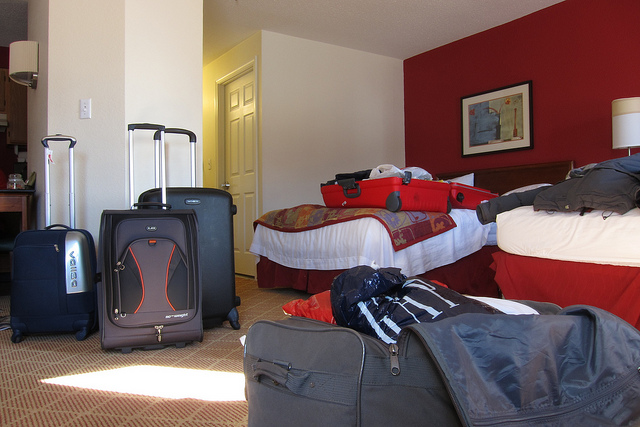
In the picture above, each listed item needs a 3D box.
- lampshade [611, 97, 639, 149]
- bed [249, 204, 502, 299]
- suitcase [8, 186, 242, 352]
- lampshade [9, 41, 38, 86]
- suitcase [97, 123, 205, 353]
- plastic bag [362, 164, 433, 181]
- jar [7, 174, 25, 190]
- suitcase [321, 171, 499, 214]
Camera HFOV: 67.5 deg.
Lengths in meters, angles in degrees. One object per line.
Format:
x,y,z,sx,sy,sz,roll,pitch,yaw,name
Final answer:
2.691,-0.790,4.203,0.228,0.424,0.119,7,13,36,lampshade
0.671,0.241,4.110,1.171,0.483,1.170,1,4,43,bed
-1.352,0.383,3.415,1.375,1.182,0.922,3,-6,-30,suitcase
-2.406,-1.219,3.873,0.211,0.327,0.330,-8,12,-31,lampshade
-1.107,0.137,3.126,0.636,1.468,0.414,-1,-2,-30,suitcase
0.676,-0.333,3.944,0.324,0.104,0.241,0,0,-33,plastic bag
-2.590,-0.274,4.058,0.106,0.105,0.180,-10,14,-41,jar
0.724,-0.166,4.014,1.382,0.392,0.672,-1,10,1,suitcase
